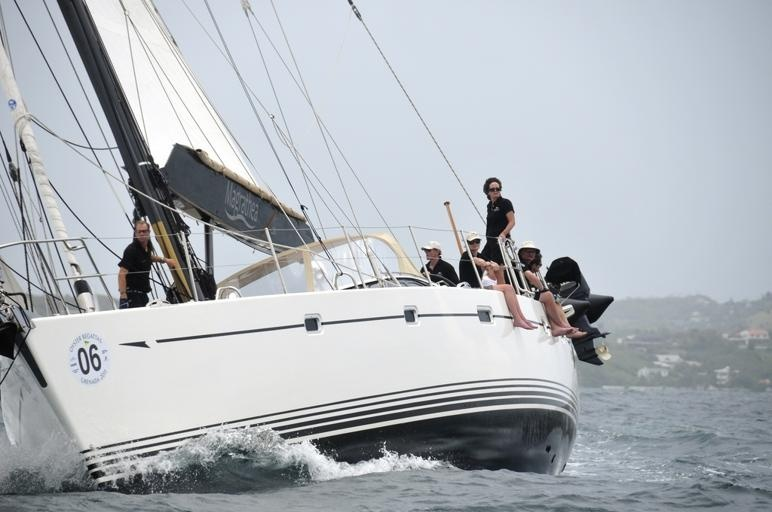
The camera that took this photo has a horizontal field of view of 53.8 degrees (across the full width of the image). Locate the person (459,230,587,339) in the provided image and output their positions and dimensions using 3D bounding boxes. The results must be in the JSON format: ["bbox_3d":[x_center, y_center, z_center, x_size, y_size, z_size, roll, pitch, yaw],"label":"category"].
[{"bbox_3d":[1.662,0.441,9.747,1.882,1.486,0.866,14,1,34],"label":"person"}]

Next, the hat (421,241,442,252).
[{"bbox_3d":[0.553,-0.107,8.642,0.241,0.151,0.185,3,-8,-5],"label":"hat"}]

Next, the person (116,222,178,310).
[{"bbox_3d":[-2.624,0.115,8.385,0.319,1.210,0.736,1,11,17],"label":"person"}]

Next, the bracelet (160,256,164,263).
[{"bbox_3d":[-2.627,0.041,8.893,0.044,0.031,0.056,8,-26,28],"label":"bracelet"}]
